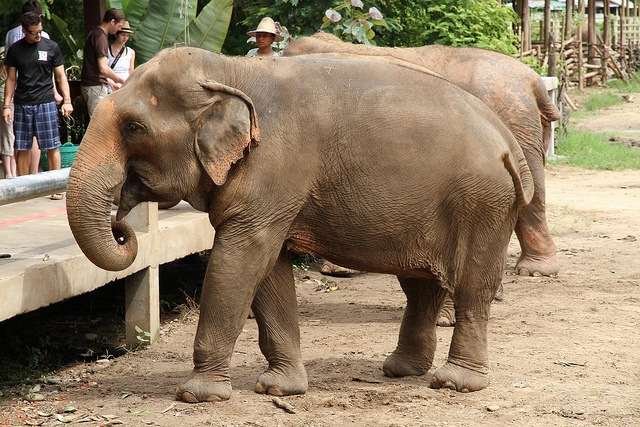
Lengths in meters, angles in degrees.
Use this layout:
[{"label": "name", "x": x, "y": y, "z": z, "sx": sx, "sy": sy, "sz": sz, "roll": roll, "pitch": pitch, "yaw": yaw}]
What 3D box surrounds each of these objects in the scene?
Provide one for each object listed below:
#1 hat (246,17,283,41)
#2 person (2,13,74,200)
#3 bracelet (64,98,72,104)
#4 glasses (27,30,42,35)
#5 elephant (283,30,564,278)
[{"label": "hat", "x": -0.628, "y": -2.257, "z": 8.927, "sx": 0.429, "sy": 0.200, "sz": 0.423, "roll": 3, "pitch": -13, "yaw": 10}, {"label": "person", "x": -3.054, "y": -1.310, "z": 8.055, "sx": 0.667, "sy": 1.639, "sz": 0.556, "roll": -5, "pitch": 11, "yaw": -17}, {"label": "bracelet", "x": -2.739, "y": -1.213, "z": 8.067, "sx": 0.064, "sy": 0.019, "sz": 0.064, "roll": 7, "pitch": 37, "yaw": -10}, {"label": "glasses", "x": -3.031, "y": -1.929, "z": 7.965, "sx": 0.103, "sy": 0.043, "sz": 0.215, "roll": 1, "pitch": 10, "yaw": 13}, {"label": "elephant", "x": 0.846, "y": -0.783, "z": 7.882, "sx": 4.146, "sy": 2.314, "sz": 1.710, "roll": 3, "pitch": 5, "yaw": -2}]
